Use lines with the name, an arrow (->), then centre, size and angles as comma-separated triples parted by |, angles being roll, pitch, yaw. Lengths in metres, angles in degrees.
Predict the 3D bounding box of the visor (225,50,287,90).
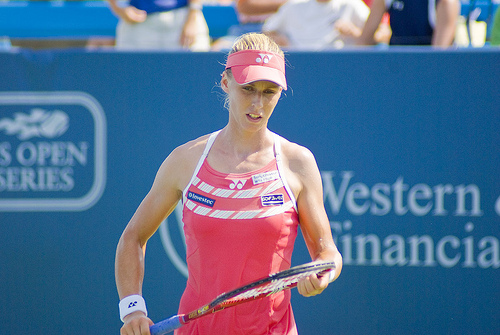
visor -> 0.002, -0.939, 8.913 | 0.483, 0.277, 0.664 | 8, -9, 18
